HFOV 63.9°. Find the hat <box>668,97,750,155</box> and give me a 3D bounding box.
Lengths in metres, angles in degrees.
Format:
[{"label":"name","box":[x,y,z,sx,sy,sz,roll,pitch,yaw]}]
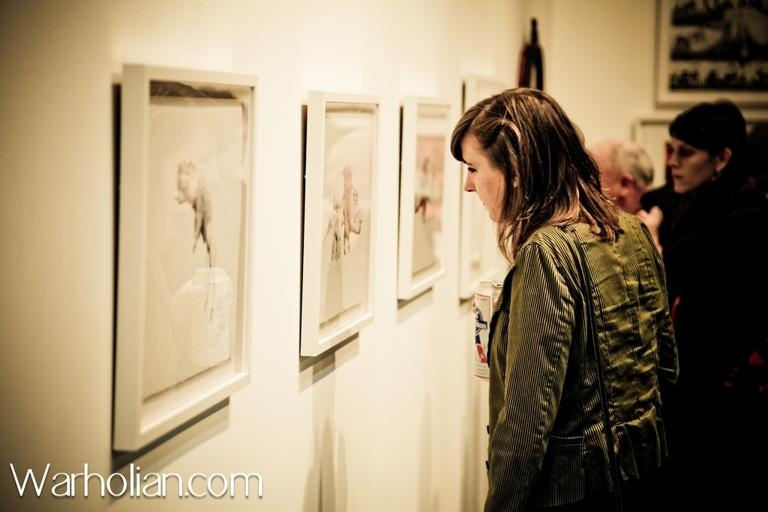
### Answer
[{"label":"hat","box":[1.336,-0.537,2.534,0.235,0.214,0.180,8,27,25]}]
